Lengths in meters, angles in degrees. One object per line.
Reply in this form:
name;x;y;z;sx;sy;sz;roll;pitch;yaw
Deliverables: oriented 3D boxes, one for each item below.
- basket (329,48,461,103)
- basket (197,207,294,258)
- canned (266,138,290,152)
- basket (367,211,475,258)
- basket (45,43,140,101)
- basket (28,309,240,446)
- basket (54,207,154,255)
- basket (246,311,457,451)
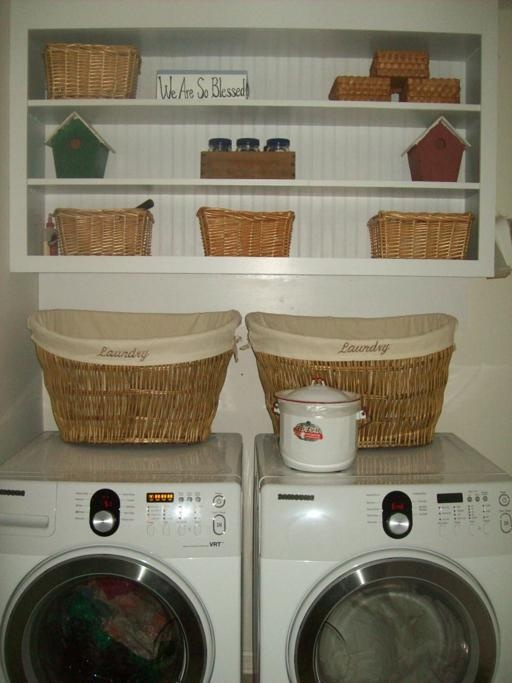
basket;0.395;-0.759;1.891;0.364;0.148;0.199;0;20;5
basket;-0.031;-0.301;1.823;0.174;0.102;0.227;0;8;-4
canned;0.062;-0.561;1.874;0.058;0.034;0.058;0;4;-1
basket;0.468;-0.289;1.845;0.212;0.096;0.151;-1;7;-2
basket;-0.460;-0.754;1.831;0.252;0.147;0.076;-8;21;-15
basket;-0.317;0.103;1.771;0.562;0.299;0.355;0;2;2
basket;-0.434;-0.305;1.826;0.212;0.089;0.149;0;5;-4
basket;0.261;0.076;1.814;0.565;0.345;0.433;-7;21;-12
